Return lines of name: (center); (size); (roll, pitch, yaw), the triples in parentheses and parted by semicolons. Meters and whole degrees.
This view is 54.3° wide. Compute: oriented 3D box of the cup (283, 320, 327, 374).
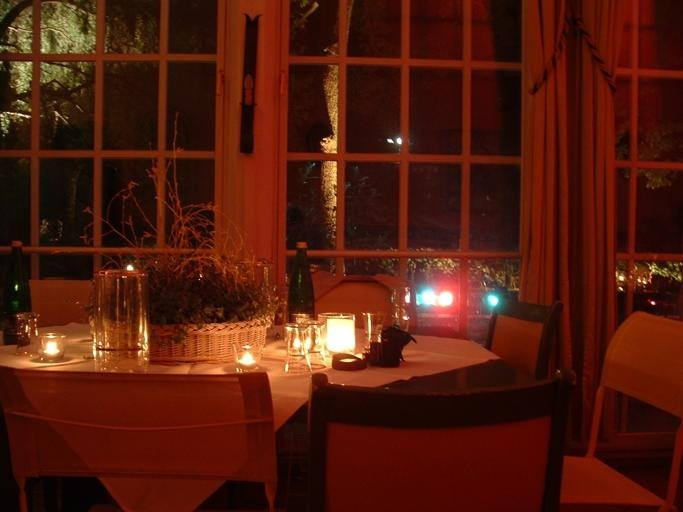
cup: (-0.118, 0.287, 2.110); (0.163, 0.179, 0.096); (-3, -1, -13)

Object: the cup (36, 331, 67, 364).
cup: (-0.940, 0.296, 2.146); (0.079, 0.096, 0.079); (1, 0, 0)

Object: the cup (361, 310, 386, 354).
cup: (0.096, 0.257, 2.253); (0.092, 0.165, 0.107); (2, -11, -4)

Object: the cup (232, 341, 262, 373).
cup: (-0.294, 0.313, 2.042); (0.074, 0.068, 0.074); (-1, -2, 0)
